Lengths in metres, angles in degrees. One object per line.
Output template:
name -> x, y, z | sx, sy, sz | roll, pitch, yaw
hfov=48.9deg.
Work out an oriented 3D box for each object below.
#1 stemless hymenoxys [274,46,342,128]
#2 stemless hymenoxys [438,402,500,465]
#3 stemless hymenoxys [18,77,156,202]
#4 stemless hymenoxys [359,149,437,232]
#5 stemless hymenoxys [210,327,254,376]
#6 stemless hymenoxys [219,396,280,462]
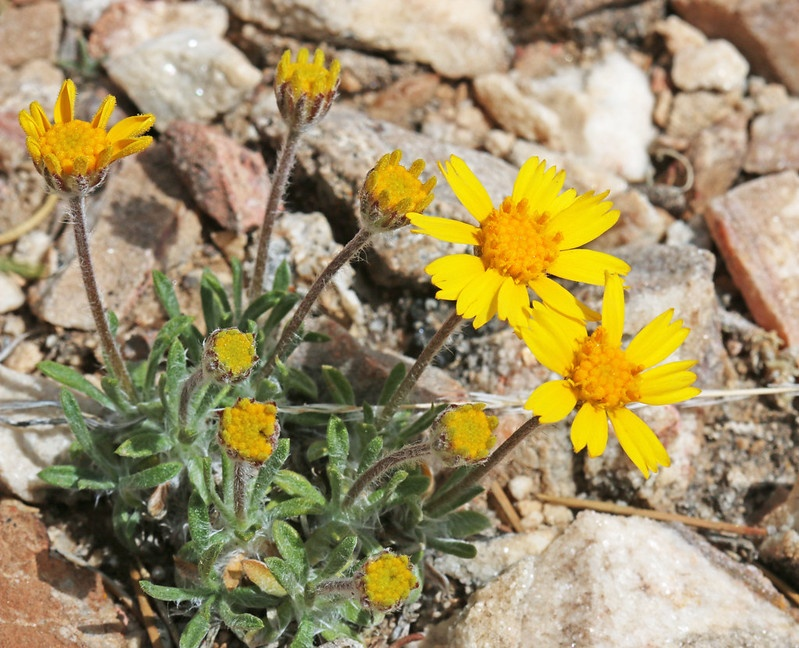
stemless hymenoxys -> -0.532, -1.183, 4.879 | 0.347, 0.393, 0.564 | 3, 92, -8
stemless hymenoxys -> 0.324, 0.539, 4.244 | 0.251, 0.143, 0.305 | 24, 84, 2
stemless hymenoxys -> -1.629, -0.878, 4.393 | 0.575, 0.285, 0.529 | 23, 71, -37
stemless hymenoxys -> -0.025, -0.640, 4.547 | 0.335, 0.219, 0.351 | 29, 75, 9
stemless hymenoxys -> -0.833, 0.145, 4.428 | 0.208, 0.107, 0.240 | -11, 73, -3
stemless hymenoxys -> -0.744, 0.582, 4.509 | 0.287, 0.541, 0.309 | 4, 72, 2
